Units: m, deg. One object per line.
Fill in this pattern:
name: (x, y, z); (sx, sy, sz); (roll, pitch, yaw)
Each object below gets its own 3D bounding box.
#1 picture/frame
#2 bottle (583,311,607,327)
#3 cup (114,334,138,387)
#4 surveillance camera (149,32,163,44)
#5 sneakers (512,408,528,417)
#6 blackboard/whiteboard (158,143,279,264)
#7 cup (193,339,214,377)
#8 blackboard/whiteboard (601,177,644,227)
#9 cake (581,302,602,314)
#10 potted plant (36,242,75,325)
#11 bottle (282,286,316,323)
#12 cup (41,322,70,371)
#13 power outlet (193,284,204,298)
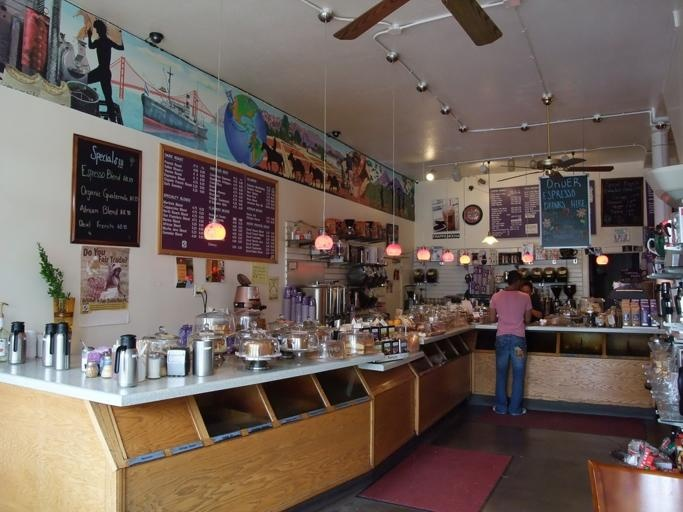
picture/frame: (-1.537, -0.634, 6.098); (0.052, 1.055, 1.529); (-7, -9, 31)
bottle: (3.494, 0.866, 7.092); (0.193, 0.148, 0.198); (1, -4, 0)
cup: (-1.418, 0.677, 3.353); (0.139, 0.315, 0.220); (0, 1, -26)
surveillance camera: (-1.954, -2.294, 5.376); (0.139, 0.071, 0.150); (0, 1, -21)
sneakers: (2.409, 2.101, 6.934); (0.101, 0.120, 0.292); (-7, -11, 33)
blackboard/whiteboard: (-1.482, -0.552, 6.212); (1.623, 1.168, 0.031); (11, 16, 15)
cup: (-0.994, 0.717, 3.663); (0.154, 0.263, 0.157); (2, 2, 0)
blackboard/whiteboard: (5.426, -1.065, 9.855); (0.934, 1.346, 0.095); (0, -2, 34)
cake: (3.591, 0.749, 7.387); (0.181, 0.116, 0.183); (1, 3, 41)
potted plant: (-2.549, 0.255, 4.567); (0.303, 0.735, 0.425); (0, 1, -31)
bottle: (-0.601, 0.657, 7.148); (0.444, 0.455, 0.243); (1, 1, -8)
cup: (-2.172, 0.691, 3.880); (0.211, 0.391, 0.358); (4, -3, -43)
power outlet: (-1.657, 0.395, 5.898); (0.086, 0.124, 0.122); (4, 17, -28)
